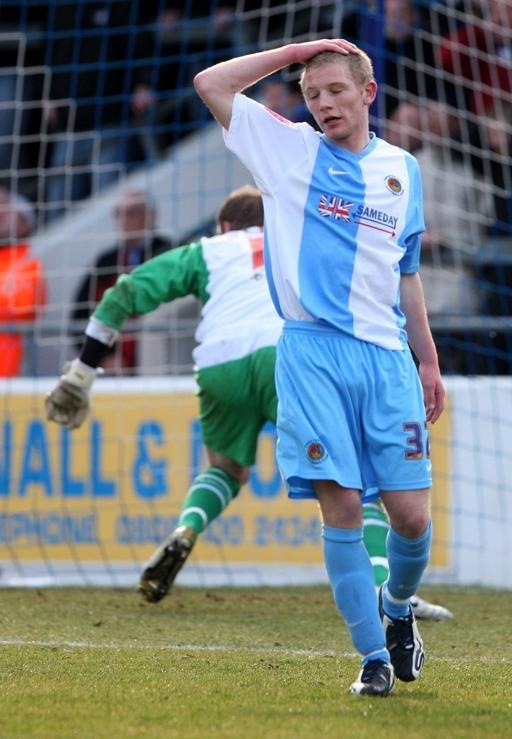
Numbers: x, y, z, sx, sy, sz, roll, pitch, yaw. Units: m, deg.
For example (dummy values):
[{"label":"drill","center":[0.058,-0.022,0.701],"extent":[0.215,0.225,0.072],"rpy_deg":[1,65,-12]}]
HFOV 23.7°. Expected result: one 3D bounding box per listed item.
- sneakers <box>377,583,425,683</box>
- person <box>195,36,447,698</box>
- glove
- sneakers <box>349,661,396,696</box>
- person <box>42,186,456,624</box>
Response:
[{"label":"sneakers","center":[0.395,0.719,3.334],"extent":[0.087,0.249,0.103],"rpy_deg":[-14,-22,0]},{"label":"person","center":[0.277,-0.036,3.308],"extent":[0.554,1.625,0.975],"rpy_deg":[-8,22,-28]},{"label":"glove","center":[-0.587,0.076,3.773],"extent":[0.148,0.205,0.112],"rpy_deg":[12,17,11]},{"label":"sneakers","center":[0.296,0.785,3.139],"extent":[0.056,0.063,0.146],"rpy_deg":[6,14,13]},{"label":"person","center":[-0.057,0.125,4.269],"extent":[1.170,1.598,0.815],"rpy_deg":[-4,-10,13]}]
